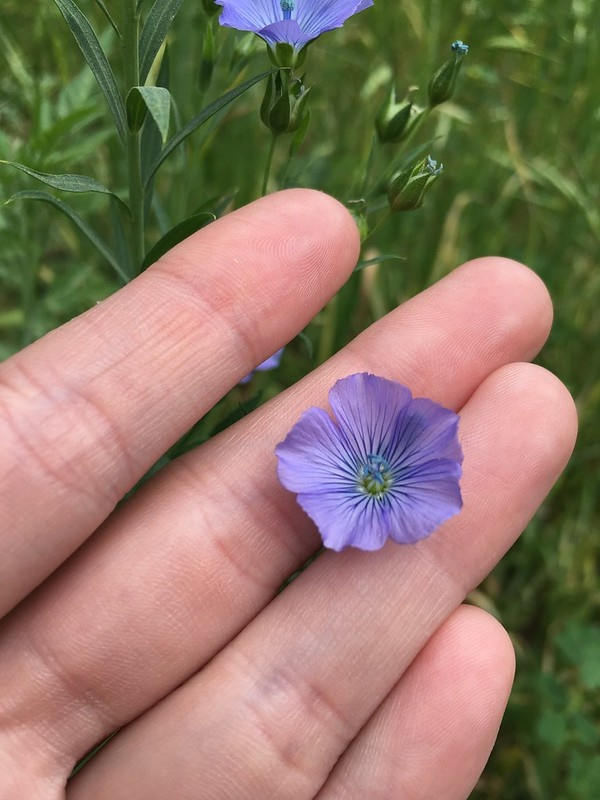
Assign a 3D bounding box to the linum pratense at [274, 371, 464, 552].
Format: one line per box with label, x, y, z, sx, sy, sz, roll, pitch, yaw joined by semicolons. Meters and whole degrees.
linum pratense;0.119;0.112;1.197;0.325;0.130;0.298;-36;37;-17
